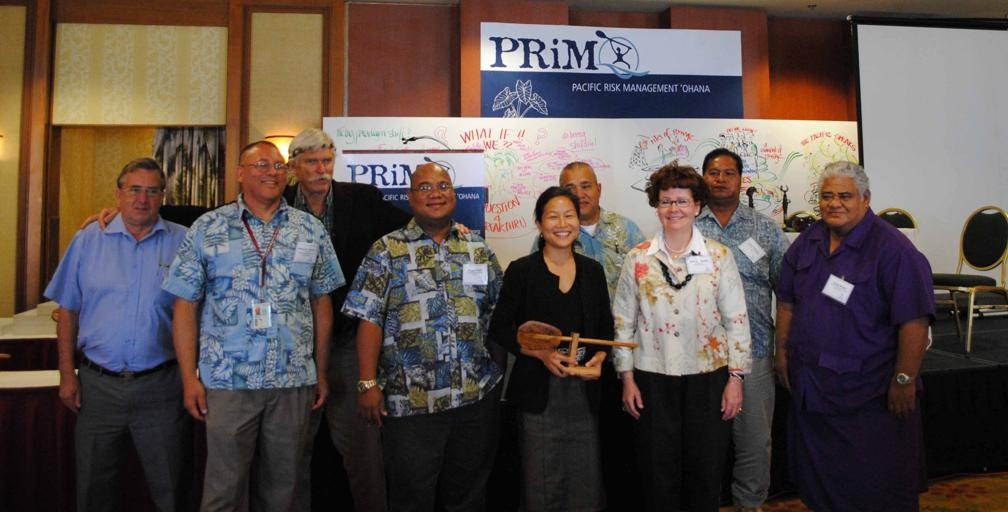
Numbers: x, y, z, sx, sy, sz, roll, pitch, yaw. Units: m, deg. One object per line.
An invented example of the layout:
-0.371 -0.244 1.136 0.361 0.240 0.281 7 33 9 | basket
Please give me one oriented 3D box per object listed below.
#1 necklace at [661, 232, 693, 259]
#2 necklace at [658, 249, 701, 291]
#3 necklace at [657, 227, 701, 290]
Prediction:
1.632 -0.089 6.835 0.238 0.259 0.109 2 -5 7 | necklace
1.590 0.136 6.717 0.320 0.349 0.091 -6 -12 0 | necklace
1.665 0.049 6.859 0.482 0.522 0.138 9 -10 17 | necklace
